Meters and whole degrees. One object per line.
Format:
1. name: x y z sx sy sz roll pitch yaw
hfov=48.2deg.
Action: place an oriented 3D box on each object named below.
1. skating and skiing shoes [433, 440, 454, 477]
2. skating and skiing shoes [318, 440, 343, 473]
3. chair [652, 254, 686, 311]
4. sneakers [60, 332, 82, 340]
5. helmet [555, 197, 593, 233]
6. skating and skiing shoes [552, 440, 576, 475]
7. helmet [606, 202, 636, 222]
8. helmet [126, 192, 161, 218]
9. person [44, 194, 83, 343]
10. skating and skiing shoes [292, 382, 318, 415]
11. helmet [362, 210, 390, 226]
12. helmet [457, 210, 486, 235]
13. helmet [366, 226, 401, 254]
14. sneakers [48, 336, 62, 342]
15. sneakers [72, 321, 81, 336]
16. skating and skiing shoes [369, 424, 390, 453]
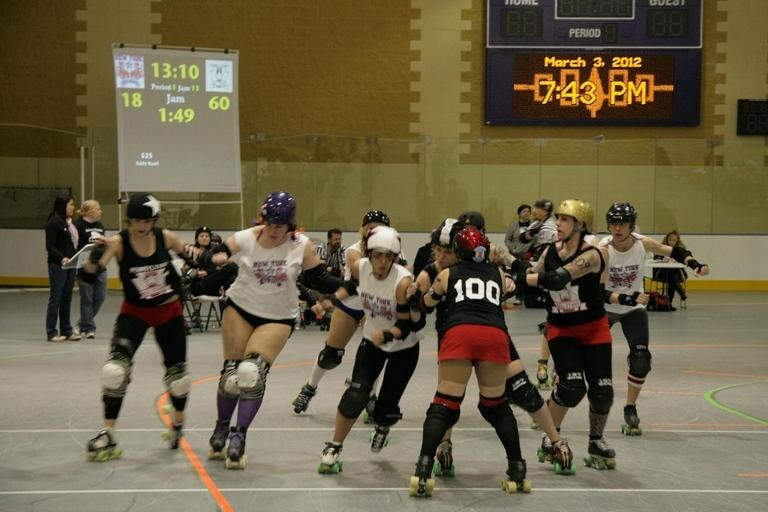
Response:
1. skating and skiing shoes: 0.722 2.492 10.581 0.176 0.307 0.476 0 1 3
2. skating and skiing shoes: -0.656 2.447 10.391 0.179 0.242 0.480 1 -7 2
3. chair: 6.953 0.679 21.024 0.673 0.870 0.922 -5 3 4
4. sneakers: -5.844 1.491 16.049 0.316 0.242 0.116 -5 6 -13
5. helmet: 2.378 -0.520 10.842 0.529 0.449 0.393 2 11 -33
6. skating and skiing shoes: 2.197 2.422 10.609 0.228 0.288 0.687 -2 7 4
7. helmet: 3.237 -0.626 11.734 0.315 0.385 0.375 0 -13 14
8. helmet: -2.986 -0.614 10.671 0.326 0.285 0.341 -6 7 -5
9. person: -5.955 0.220 15.924 0.525 2.644 0.740 10 14 40
10. skating and skiing shoes: -1.126 2.043 12.232 0.228 0.513 0.246 28 -1 29
11. helmet: -0.141 -0.527 11.686 0.418 0.273 0.312 10 3 3
12. helmet: 1.091 -0.434 10.699 0.283 0.286 0.248 -2 -9 10
13. helmet: -0.020 -0.186 10.419 0.279 0.315 0.388 5 -27 -6
14. sneakers: -6.071 1.520 15.927 0.199 0.080 0.115 -4 -4 23
15. sneakers: -5.882 1.386 16.437 0.075 0.248 0.169 6 37 17
16. skating and skiing shoes: -0.066 2.225 10.550 0.149 0.488 0.206 6 11 4
